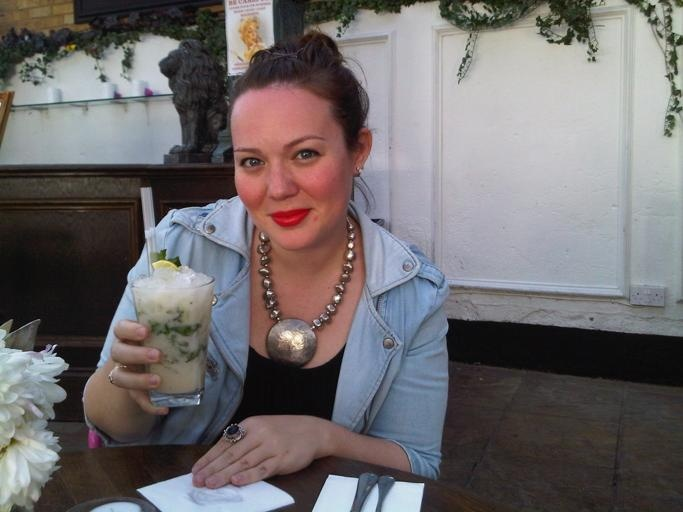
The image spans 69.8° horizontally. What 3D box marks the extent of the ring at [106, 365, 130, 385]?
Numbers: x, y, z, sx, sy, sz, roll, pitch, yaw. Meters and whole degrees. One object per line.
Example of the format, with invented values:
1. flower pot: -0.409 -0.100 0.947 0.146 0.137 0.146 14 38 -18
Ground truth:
1. ring: -0.565 0.298 1.230 0.062 0.056 0.034 3 10 31

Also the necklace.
1. necklace: -0.139 0.138 1.632 0.264 0.498 0.145 1 -16 8

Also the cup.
1. cup: -0.407 0.201 1.215 0.176 0.342 0.126 0 8 14
